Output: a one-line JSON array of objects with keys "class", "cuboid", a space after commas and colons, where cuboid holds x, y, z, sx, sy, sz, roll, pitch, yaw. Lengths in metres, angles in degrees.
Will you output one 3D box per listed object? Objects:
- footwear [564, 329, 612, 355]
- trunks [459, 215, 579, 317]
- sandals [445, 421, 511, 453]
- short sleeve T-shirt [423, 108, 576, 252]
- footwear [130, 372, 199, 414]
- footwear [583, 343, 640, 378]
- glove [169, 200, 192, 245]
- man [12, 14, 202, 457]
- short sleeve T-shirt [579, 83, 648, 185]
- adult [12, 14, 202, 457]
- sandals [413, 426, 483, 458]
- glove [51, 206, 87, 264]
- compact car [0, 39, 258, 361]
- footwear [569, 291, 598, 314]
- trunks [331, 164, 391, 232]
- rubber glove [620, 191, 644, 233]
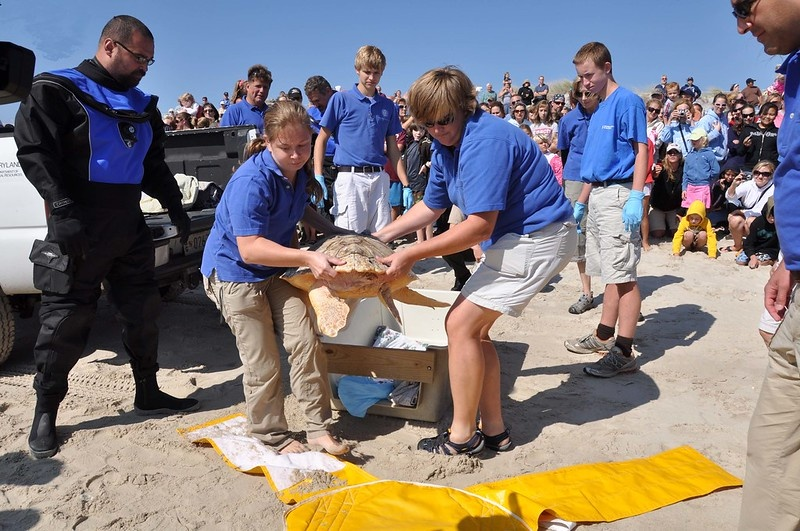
[{"class": "footwear", "cuboid": [1.792, 0.733, 5.883, 0.458, 0.176, 0.168, 0, 14, 19]}, {"class": "trunks", "cuboid": [0.879, -0.032, 4.418, 0.858, 0.267, 0.526, -37, 29, -23]}, {"class": "sandals", "cuboid": [0.569, 1.300, 4.693, 0.536, 0.199, 0.180, 2, -4, 0]}, {"class": "short sleeve T-shirt", "cuboid": [0.709, -0.588, 4.353, 1.058, 0.956, 0.595, 1, 11, 4]}, {"class": "footwear", "cuboid": [-1.938, 1.064, 5.180, 0.585, 0.333, 0.232, 0, 4, -17]}, {"class": "footwear", "cuboid": [1.909, 0.865, 5.600, 0.549, 0.224, 0.200, -4, 6, -12]}, {"class": "glove", "cuboid": [-1.839, -0.372, 5.188, 0.203, 0.311, 0.080, -14, 15, -20]}, {"class": "man", "cuboid": [-2.303, -0.236, 4.750, 1.292, 3.199, 0.588, -8, 14, -33]}, {"class": "short sleeve T-shirt", "cuboid": [1.931, -1.159, 5.560, 0.563, 0.843, 0.257, 6, 13, 28]}, {"class": "adult", "cuboid": [-2.306, -0.236, 4.754, 1.289, 3.199, 0.609, -7, 14, -31]}, {"class": "sandals", "cuboid": [0.363, 1.299, 4.547, 0.516, 0.176, 0.190, 0, -12, 7]}, {"class": "glove", "cuboid": [-2.348, -0.232, 4.399, 0.244, 0.358, 0.111, -8, 6, -9]}, {"class": "compact car", "cuboid": [-3.190, -0.448, 6.548, 3.802, 1.955, 2.522, -2, 0, 39]}, {"class": "footwear", "cuboid": [2.053, 0.416, 7.012, 0.390, 0.161, 0.138, -10, 14, -37]}, {"class": "trunks", "cuboid": [-0.424, -0.732, 6.833, 0.942, 0.794, 0.543, -5, 8, -38]}, {"class": "rubber glove", "cuboid": [2.037, -0.469, 5.441, 0.202, 0.331, 0.120, 0, -29, 26]}]
